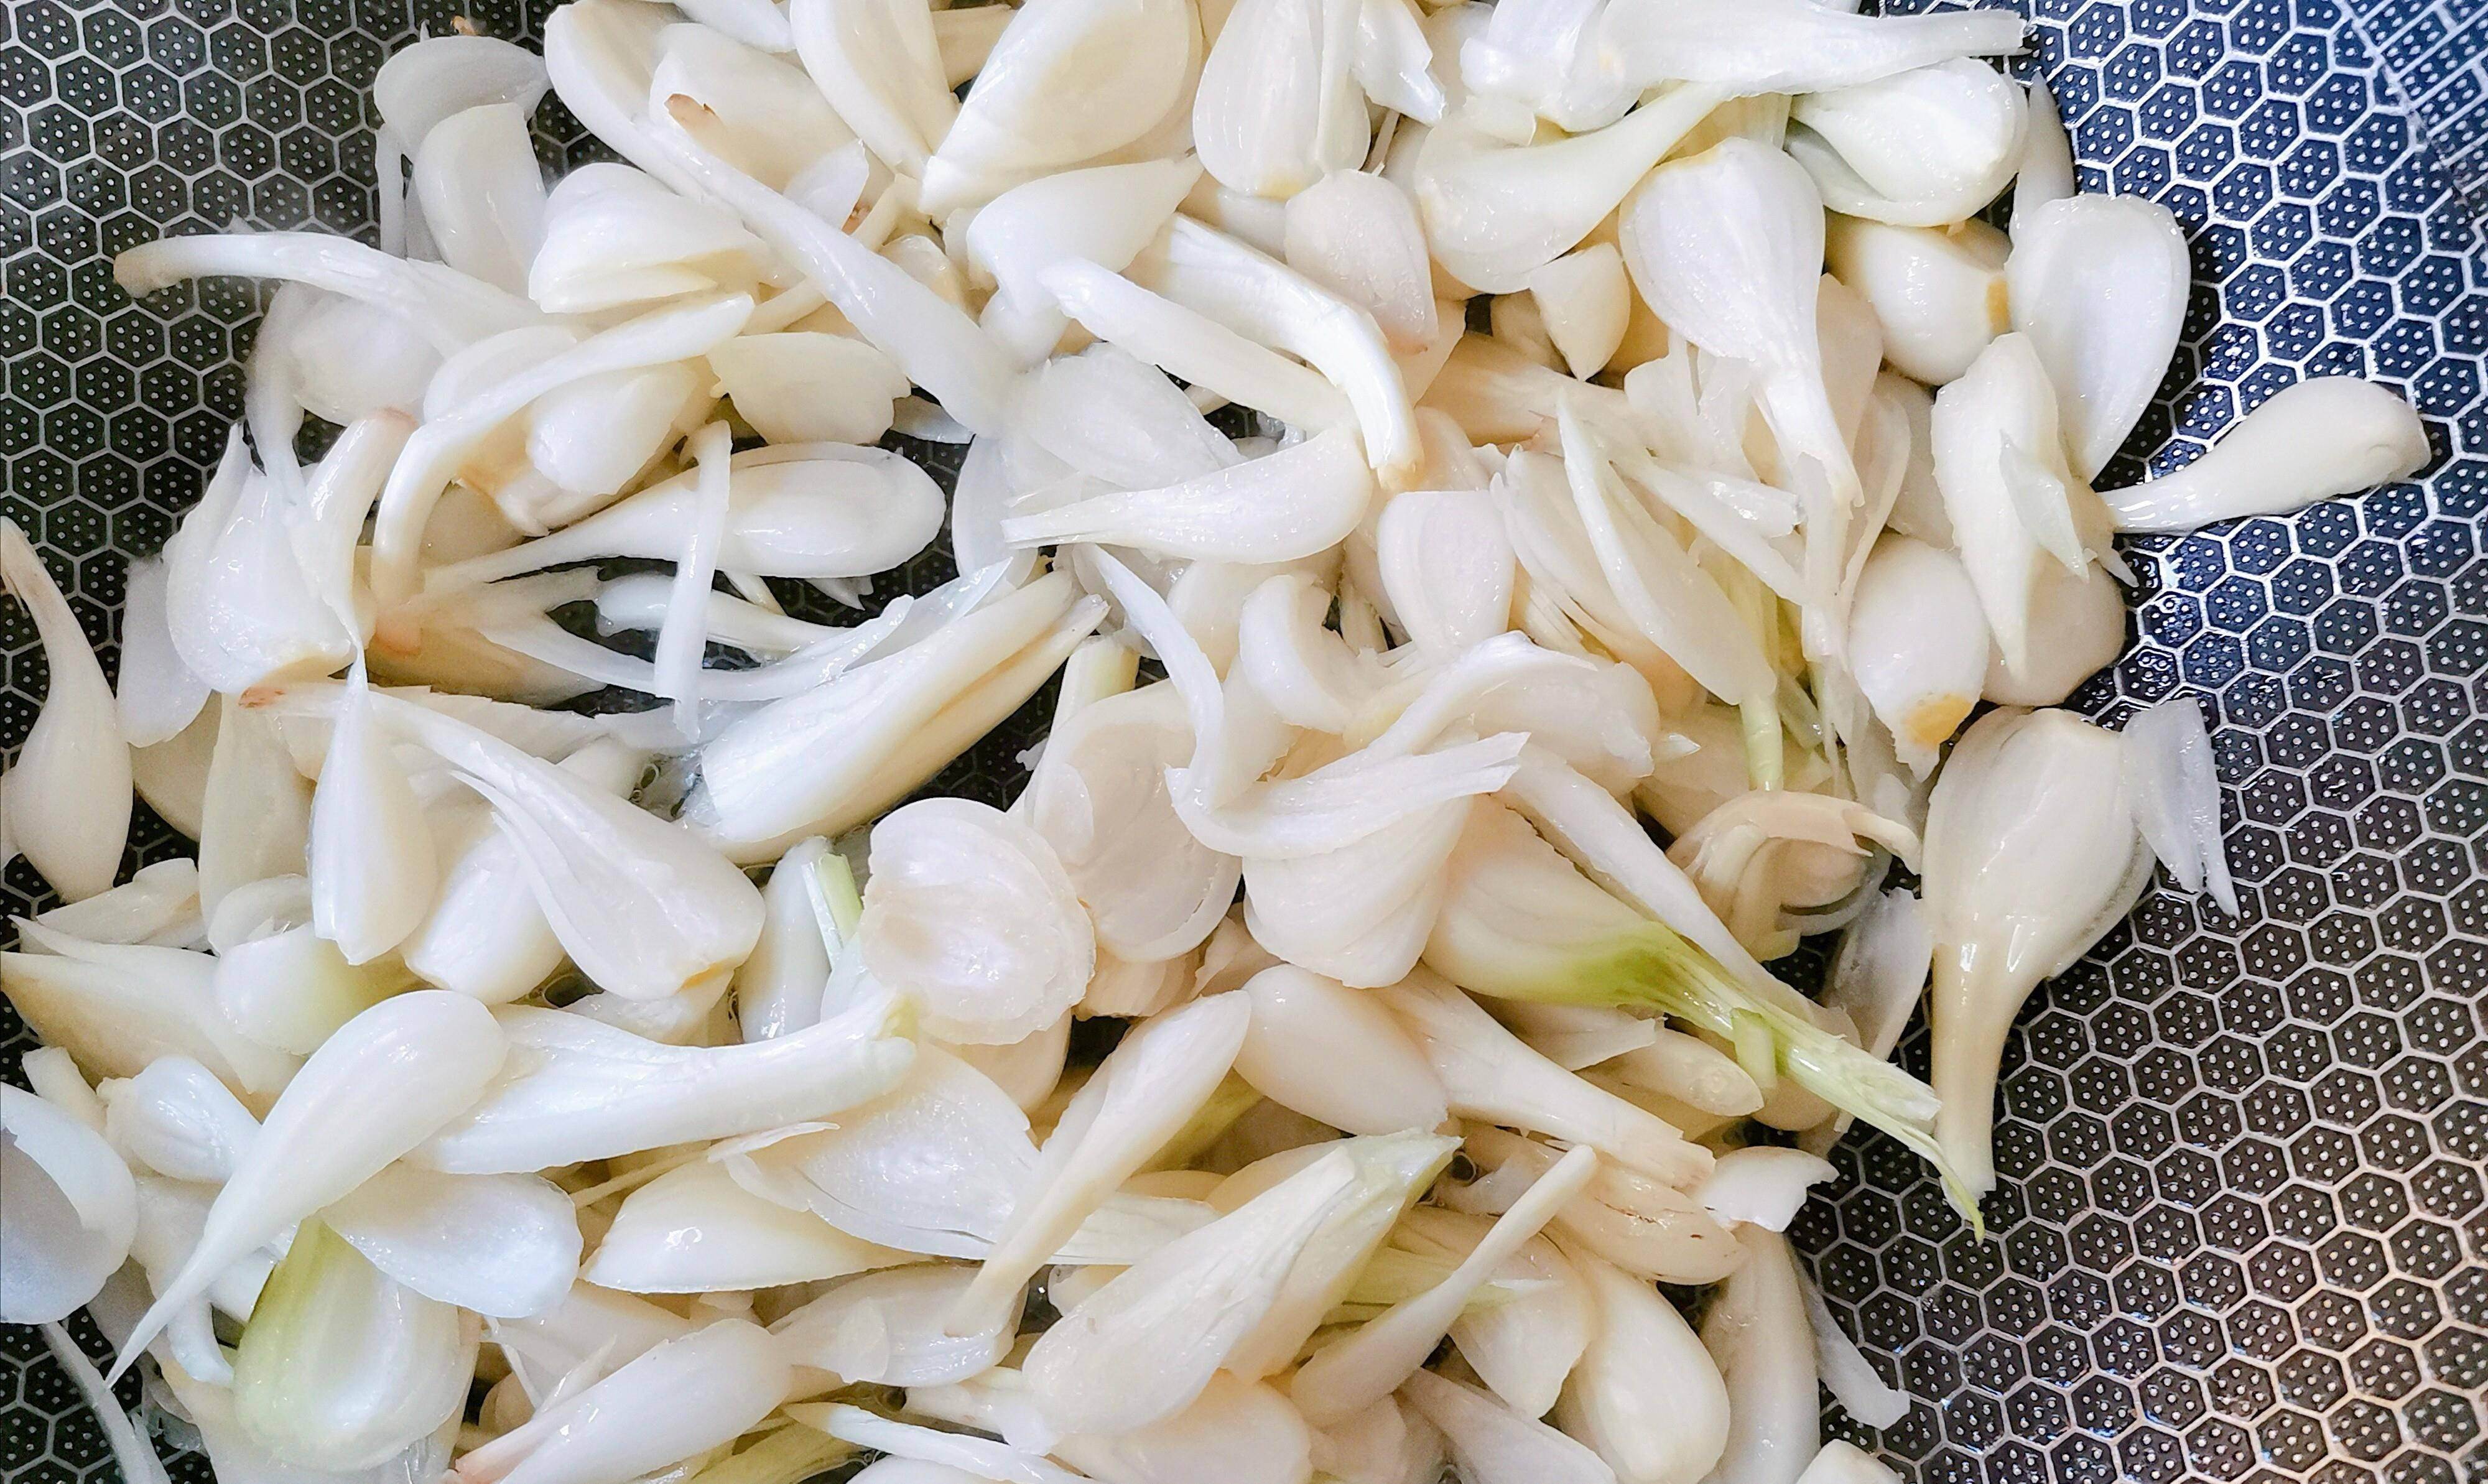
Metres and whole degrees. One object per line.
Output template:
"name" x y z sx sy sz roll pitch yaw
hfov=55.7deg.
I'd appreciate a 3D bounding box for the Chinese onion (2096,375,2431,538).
"Chinese onion" 0.635 -0.169 1.492 0.204 0.052 0.067 -16 58 27
